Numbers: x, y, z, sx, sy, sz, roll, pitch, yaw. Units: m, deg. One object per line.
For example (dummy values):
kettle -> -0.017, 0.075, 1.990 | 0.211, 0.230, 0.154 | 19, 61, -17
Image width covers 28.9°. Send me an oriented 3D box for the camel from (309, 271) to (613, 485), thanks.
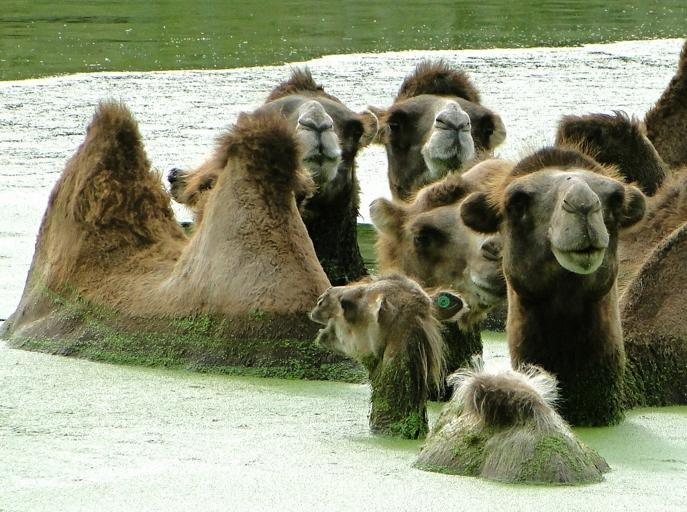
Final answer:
camel -> 0.769, 0.771, 8.997 | 1.033, 1.080, 2.169 | -5, 12, -27
